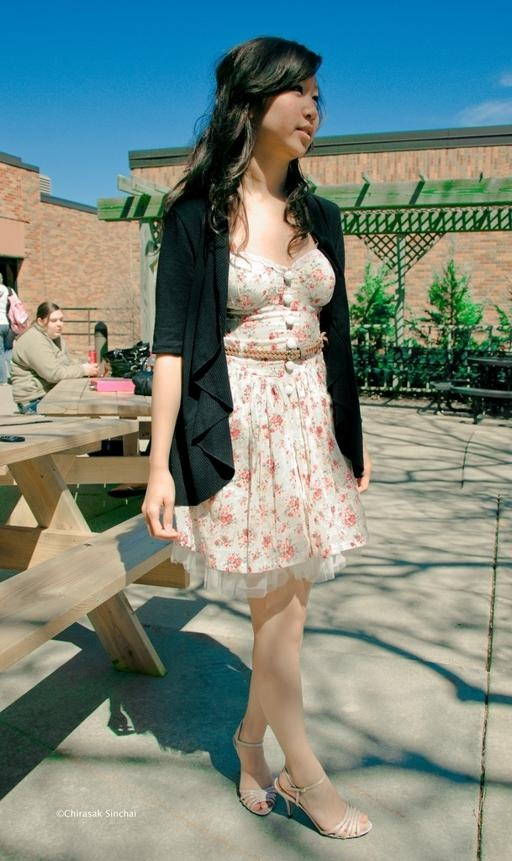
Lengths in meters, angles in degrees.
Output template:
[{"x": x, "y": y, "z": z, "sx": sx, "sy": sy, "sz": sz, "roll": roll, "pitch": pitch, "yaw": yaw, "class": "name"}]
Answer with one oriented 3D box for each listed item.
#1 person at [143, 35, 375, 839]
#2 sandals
[{"x": 0.011, "y": 0.076, "z": 1.451, "sx": 0.585, "sy": 1.814, "sz": 0.325, "roll": -2, "pitch": 6, "yaw": -21, "class": "person"}, {"x": 0.003, "y": 0.869, "z": 1.644, "sx": 0.090, "sy": 0.090, "sz": 0.236, "roll": 0, "pitch": 16, "yaw": -13, "class": "sandals"}]
